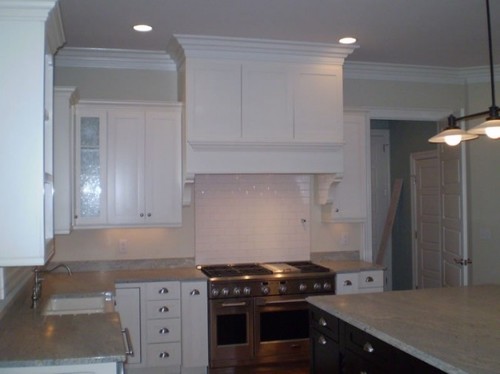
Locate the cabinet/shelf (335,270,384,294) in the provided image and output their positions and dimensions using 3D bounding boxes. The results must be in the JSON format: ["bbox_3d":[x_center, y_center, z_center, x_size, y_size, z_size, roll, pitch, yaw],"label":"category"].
[{"bbox_3d":[1.224,1.059,4.807,0.428,0.327,0.268,0,-5,-16],"label":"cabinet/shelf"}]

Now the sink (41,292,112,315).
[{"bbox_3d":[-1.389,0.979,3.522,0.534,0.133,0.480,-2,-2,-17],"label":"sink"}]
